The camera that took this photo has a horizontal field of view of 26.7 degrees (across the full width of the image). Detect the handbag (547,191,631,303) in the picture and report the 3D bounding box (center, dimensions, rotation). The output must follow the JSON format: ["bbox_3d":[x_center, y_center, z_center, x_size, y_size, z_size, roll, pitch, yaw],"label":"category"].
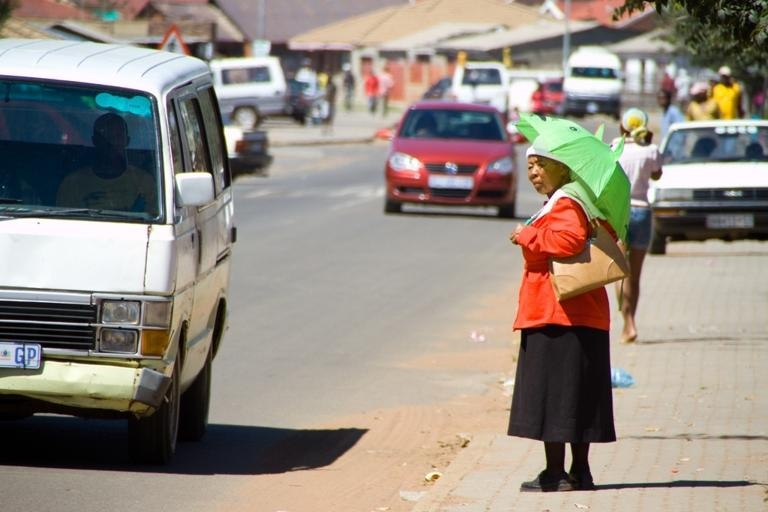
[{"bbox_3d":[1.642,-0.050,12.854,0.259,0.594,0.663,-6,-10,-39],"label":"handbag"}]

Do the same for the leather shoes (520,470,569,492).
[{"bbox_3d":[1.309,1.820,13.243,0.426,0.154,0.150,0,-3,15],"label":"leather shoes"}]

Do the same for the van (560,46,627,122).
[{"bbox_3d":[6.353,-5.739,50.859,2.127,2.138,3.865,2,19,-1],"label":"van"}]

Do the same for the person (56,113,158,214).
[{"bbox_3d":[-2.377,-0.745,13.669,0.807,0.736,0.395,3,-23,-9],"label":"person"}]
